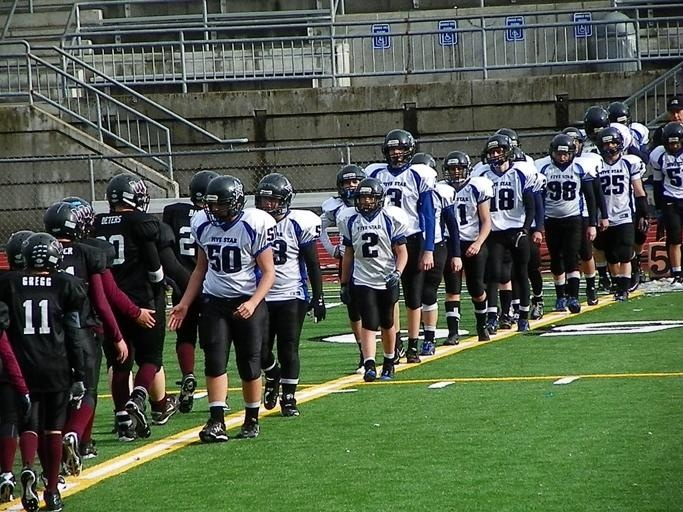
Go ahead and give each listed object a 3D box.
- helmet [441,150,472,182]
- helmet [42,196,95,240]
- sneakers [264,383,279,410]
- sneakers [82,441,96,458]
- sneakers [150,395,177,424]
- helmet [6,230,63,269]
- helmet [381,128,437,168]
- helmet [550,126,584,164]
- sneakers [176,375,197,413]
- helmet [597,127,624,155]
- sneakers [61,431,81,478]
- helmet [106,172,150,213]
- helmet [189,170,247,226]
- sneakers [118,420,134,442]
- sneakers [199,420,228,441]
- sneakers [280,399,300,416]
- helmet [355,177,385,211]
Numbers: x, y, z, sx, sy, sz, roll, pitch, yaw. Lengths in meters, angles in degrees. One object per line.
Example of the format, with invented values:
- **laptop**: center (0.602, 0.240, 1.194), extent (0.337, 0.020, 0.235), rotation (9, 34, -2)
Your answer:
- **helmet**: center (1.240, -0.985, 13.583), extent (0.226, 0.297, 0.334), rotation (-2, 6, 12)
- **helmet**: center (-2.181, -0.268, 9.839), extent (0.344, 0.340, 0.565), rotation (-3, 9, -8)
- **sneakers**: center (-0.643, 1.272, 10.998), extent (0.086, 0.297, 0.122), rotation (1, 17, 3)
- **sneakers**: center (-2.015, 1.557, 9.777), extent (0.057, 0.128, 0.175), rotation (5, 6, 17)
- **sneakers**: center (-1.551, 1.351, 10.782), extent (0.114, 0.177, 0.358), rotation (-1, 16, 16)
- **helmet**: center (-2.273, -0.062, 9.122), extent (0.247, 0.291, 0.351), rotation (1, 13, 4)
- **helmet**: center (0.634, -1.053, 12.762), extent (0.296, 0.308, 0.648), rotation (-2, -19, 27)
- **helmet**: center (2.686, -1.319, 14.876), extent (0.281, 0.338, 0.405), rotation (0, 40, 30)
- **sneakers**: center (-1.415, 1.246, 11.124), extent (0.121, 0.411, 0.191), rotation (3, 6, -17)
- **helmet**: center (3.323, -1.449, 15.389), extent (0.241, 0.292, 0.343), rotation (-3, 5, 13)
- **sneakers**: center (-2.016, 1.495, 9.210), extent (0.111, 0.357, 0.149), rotation (-4, 2, -2)
- **helmet**: center (-1.837, -0.551, 10.609), extent (0.252, 0.370, 0.355), rotation (5, 14, 18)
- **helmet**: center (-0.992, -0.455, 10.000), extent (0.284, 0.397, 0.378), rotation (2, -1, 22)
- **sneakers**: center (-1.791, 1.484, 10.254), extent (0.086, 0.126, 0.175), rotation (1, -2, 10)
- **sneakers**: center (-1.046, 1.434, 9.909), extent (0.104, 0.147, 0.288), rotation (-3, -22, 10)
- **sneakers**: center (-0.452, 1.333, 10.687), extent (0.088, 0.106, 0.213), rotation (3, -12, -20)
- **helmet**: center (0.246, -0.556, 11.415), extent (0.213, 0.279, 0.312), rotation (-1, -1, 9)
